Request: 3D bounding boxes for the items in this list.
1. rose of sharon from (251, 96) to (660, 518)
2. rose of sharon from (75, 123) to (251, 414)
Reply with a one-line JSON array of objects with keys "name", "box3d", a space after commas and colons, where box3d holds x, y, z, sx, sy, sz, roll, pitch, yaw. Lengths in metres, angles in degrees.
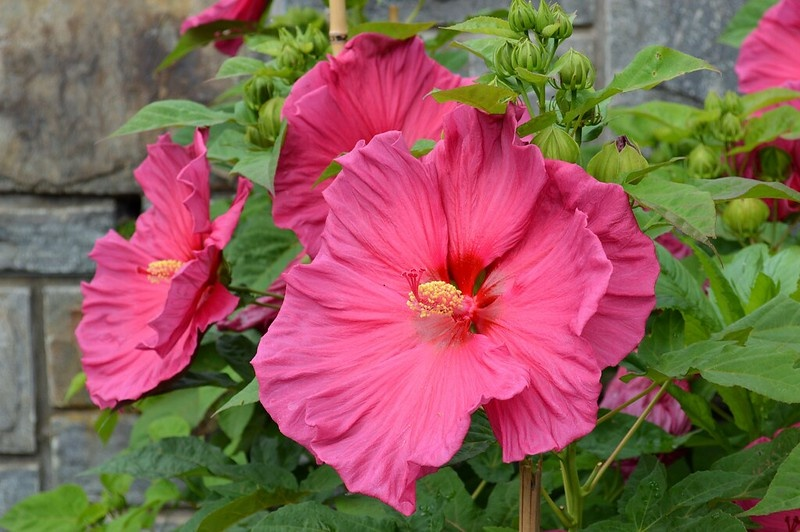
[{"name": "rose of sharon", "box3d": [0.088, 0.068, 1.830, 0.679, 0.277, 0.757, -1, 85, 24]}, {"name": "rose of sharon", "box3d": [-0.440, 0.021, 2.229, 0.487, 0.216, 0.510, -48, 41, 19]}]
